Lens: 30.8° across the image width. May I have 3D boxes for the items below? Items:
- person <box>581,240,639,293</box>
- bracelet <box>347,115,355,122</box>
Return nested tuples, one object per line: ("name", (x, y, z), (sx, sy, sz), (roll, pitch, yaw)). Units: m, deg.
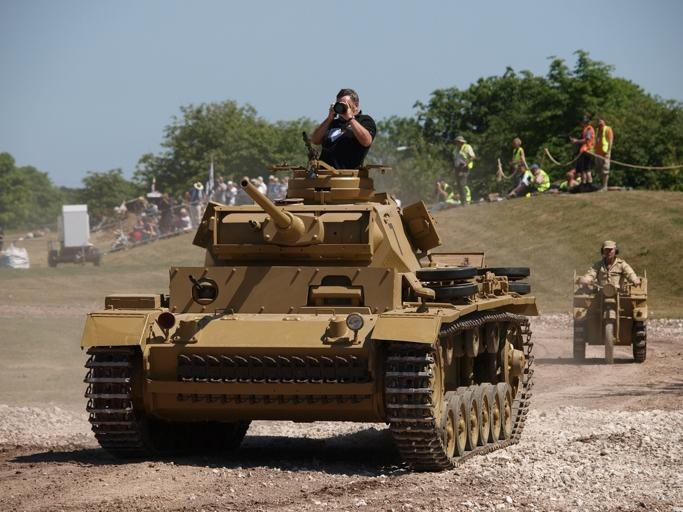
("person", (6.445, 0.379, 29.814), (1.508, 1.570, 0.986), (-1, -5, 8))
("bracelet", (0.170, -2.456, 22.201), (0.120, 0.140, 0.377), (0, 5, 2))
